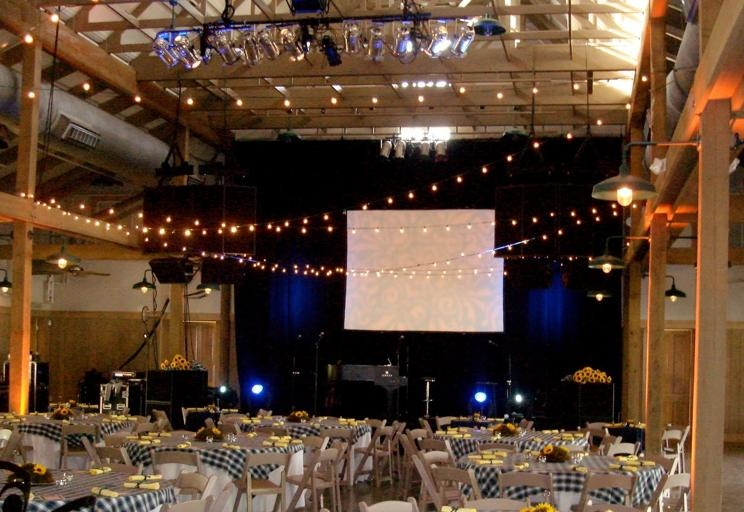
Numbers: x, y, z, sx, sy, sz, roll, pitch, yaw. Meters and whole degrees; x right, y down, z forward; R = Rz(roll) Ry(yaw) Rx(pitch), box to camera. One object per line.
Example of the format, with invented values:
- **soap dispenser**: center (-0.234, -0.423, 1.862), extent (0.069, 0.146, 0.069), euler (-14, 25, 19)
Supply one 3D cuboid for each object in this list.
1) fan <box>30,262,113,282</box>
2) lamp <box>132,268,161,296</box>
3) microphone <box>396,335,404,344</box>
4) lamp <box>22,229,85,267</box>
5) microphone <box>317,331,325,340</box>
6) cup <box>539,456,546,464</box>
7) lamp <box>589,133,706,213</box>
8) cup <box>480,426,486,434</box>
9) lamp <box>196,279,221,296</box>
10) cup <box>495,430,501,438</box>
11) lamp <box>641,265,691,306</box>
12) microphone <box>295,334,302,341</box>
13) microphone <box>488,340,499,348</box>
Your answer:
- **fan**: center (-7.321, 0.362, 19.469), extent (1.047, 0.255, 1.077), euler (1, -12, -6)
- **lamp**: center (-5.278, 0.623, 19.440), extent (0.507, 0.569, 0.556), euler (-1, -21, 1)
- **microphone**: center (0.640, 1.823, 18.304), extent (0.173, 0.184, 0.088), euler (-2, -11, 10)
- **lamp**: center (-6.324, -0.192, 16.450), extent (0.859, 0.436, 0.528), euler (0, -11, -3)
- **microphone**: center (-1.156, 1.796, 18.775), extent (0.196, 0.176, 0.042), euler (-5, -11, 20)
- **cup**: center (2.111, 2.526, 10.292), extent (0.072, 0.071, 0.073), euler (0, -3, 0)
- **lamp**: center (3.234, -0.923, 9.695), extent (1.430, 0.949, 0.750), euler (4, -5, -2)
- **cup**: center (1.759, 2.758, 13.111), extent (0.119, 0.088, 0.216), euler (1, -7, 11)
- **lamp**: center (-3.610, 0.705, 18.276), extent (0.365, 0.323, 0.375), euler (0, 1, 31)
- **cup**: center (1.845, 2.609, 12.163), extent (0.085, 0.048, 0.118), euler (-2, -4, 7)
- **lamp**: center (5.591, 0.553, 15.667), extent (0.811, 0.848, 0.768), euler (1, -9, 7)
- **microphone**: center (-1.657, 1.851, 18.939), extent (0.166, 0.131, 0.029), euler (-3, -11, 14)
- **microphone**: center (2.675, 1.922, 18.256), extent (0.221, 0.142, 0.078), euler (-2, -11, 8)
